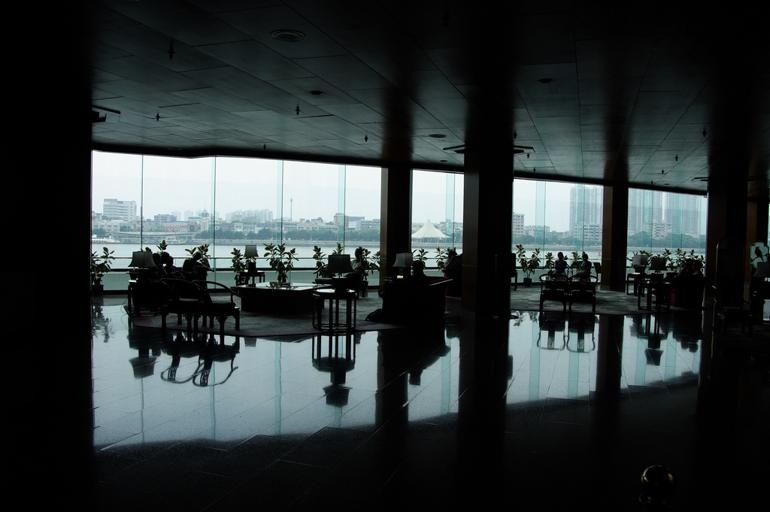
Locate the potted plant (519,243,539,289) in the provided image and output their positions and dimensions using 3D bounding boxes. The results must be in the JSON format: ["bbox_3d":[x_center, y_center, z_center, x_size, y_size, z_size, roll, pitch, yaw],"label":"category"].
[{"bbox_3d":[5.252,0.320,22.133,0.865,1.202,2.296,4,12,14],"label":"potted plant"}]

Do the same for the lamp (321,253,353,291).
[{"bbox_3d":[-0.869,0.264,11.745,0.605,0.652,0.600,6,17,27],"label":"lamp"}]

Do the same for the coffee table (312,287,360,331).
[{"bbox_3d":[-0.991,1.082,12.129,1.006,0.804,0.992,-2,-2,1],"label":"coffee table"}]
